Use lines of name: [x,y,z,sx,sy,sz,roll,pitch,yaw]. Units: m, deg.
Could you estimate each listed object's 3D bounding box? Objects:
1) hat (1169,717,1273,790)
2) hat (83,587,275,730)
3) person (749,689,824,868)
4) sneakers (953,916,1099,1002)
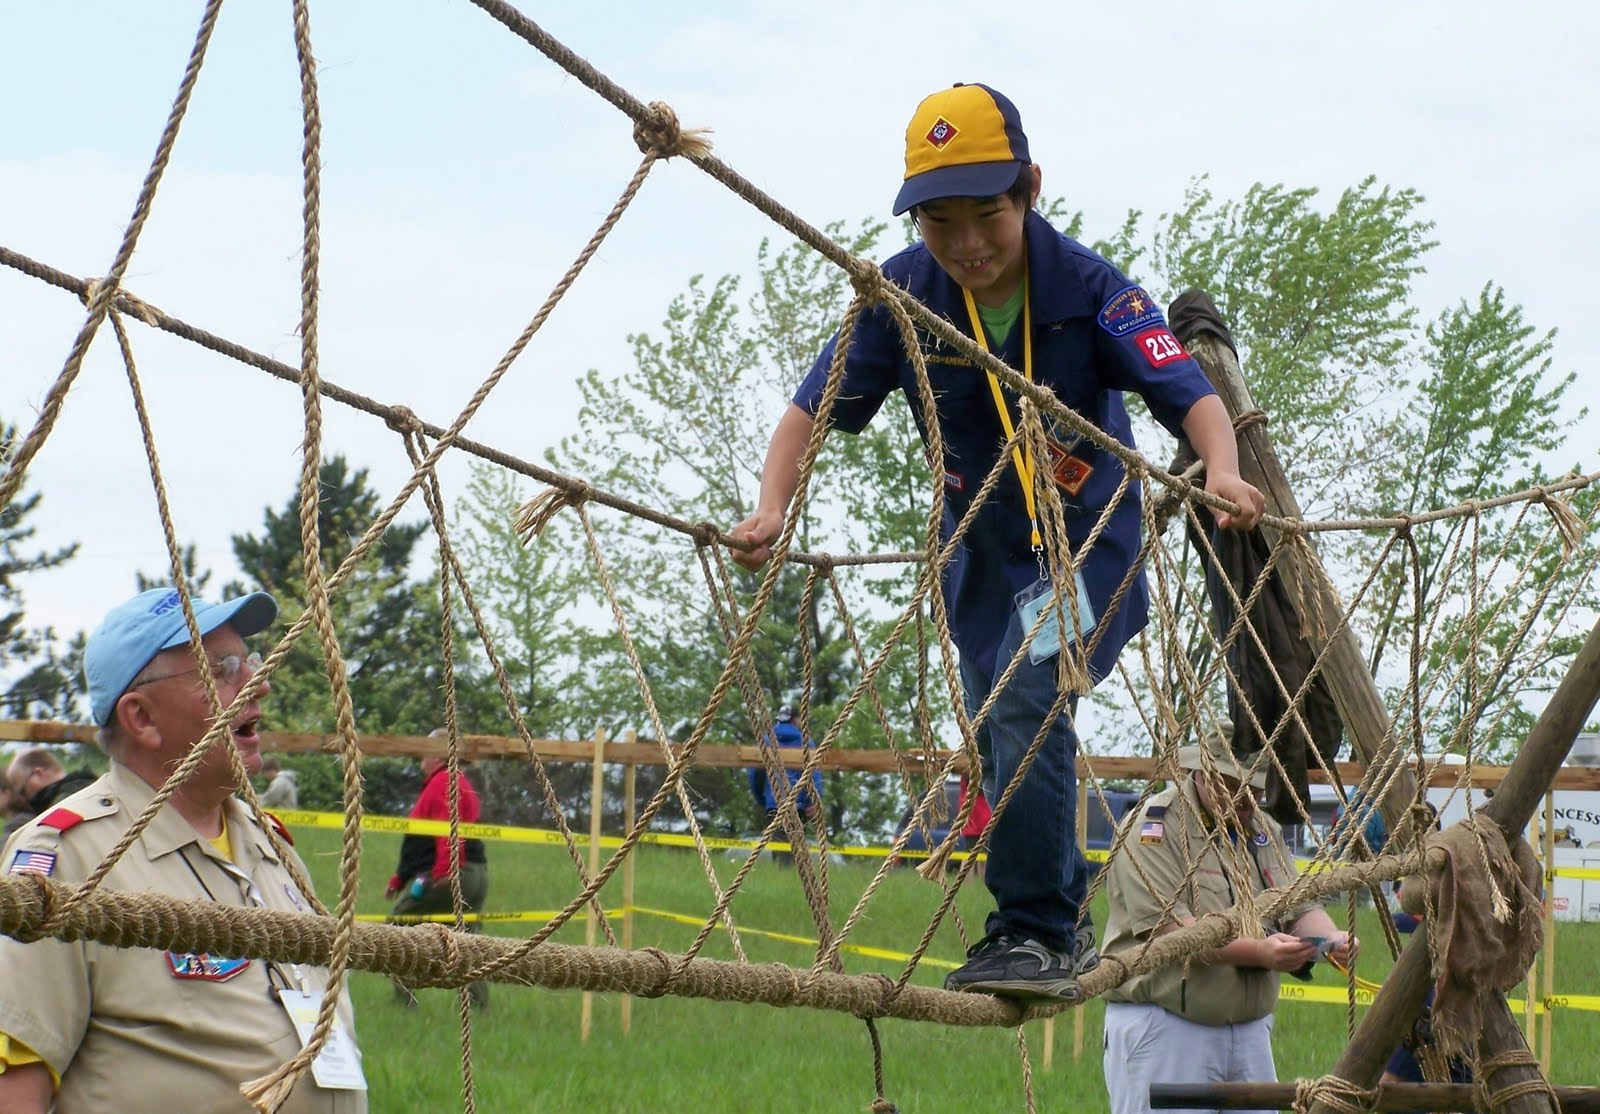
hat: [1.807,0.896,10.855,0.429,0.239,0.500,19,-12,-2]
hat: [-2.124,0.363,8.732,0.542,0.292,0.369,-38,0,5]
person: [-0.072,1.121,12.534,0.321,0.855,0.296,4,6,27]
sneakers: [0.856,1.459,9.285,0.228,0.195,0.452,-12,-17,39]
